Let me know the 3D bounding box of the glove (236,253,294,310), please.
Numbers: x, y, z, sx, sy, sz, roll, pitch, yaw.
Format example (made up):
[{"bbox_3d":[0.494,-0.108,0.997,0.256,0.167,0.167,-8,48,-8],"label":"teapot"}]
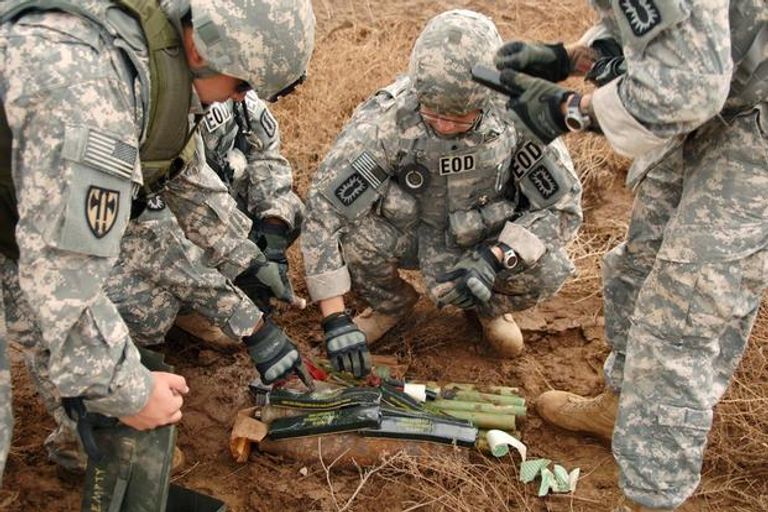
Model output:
[{"bbox_3d":[-0.781,0.158,4.853,0.374,0.364,0.153,39,21,-26],"label":"glove"}]

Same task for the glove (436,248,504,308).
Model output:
[{"bbox_3d":[0.515,0.203,4.539,0.206,0.419,0.314,37,41,-19],"label":"glove"}]

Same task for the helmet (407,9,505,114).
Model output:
[{"bbox_3d":[0.427,-1.143,4.378,0.482,0.492,0.608,22,77,5],"label":"helmet"}]

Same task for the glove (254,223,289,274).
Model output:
[{"bbox_3d":[-0.786,-0.052,4.970,0.290,0.280,0.099,42,44,12],"label":"glove"}]

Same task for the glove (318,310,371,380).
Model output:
[{"bbox_3d":[-0.242,0.557,4.550,0.287,0.189,0.394,-22,80,-3],"label":"glove"}]

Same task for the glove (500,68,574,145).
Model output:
[{"bbox_3d":[0.753,-0.748,3.676,0.402,0.280,0.217,12,43,18],"label":"glove"}]

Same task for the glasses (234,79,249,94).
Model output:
[{"bbox_3d":[-0.713,-0.832,3.587,0.051,0.066,0.067,-2,30,-26],"label":"glasses"}]

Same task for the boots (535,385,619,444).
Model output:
[{"bbox_3d":[1.075,0.942,4.408,0.593,0.368,0.196,19,69,14],"label":"boots"}]

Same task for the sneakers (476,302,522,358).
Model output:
[{"bbox_3d":[0.758,0.484,4.952,0.206,0.147,0.358,-14,45,-22],"label":"sneakers"}]
